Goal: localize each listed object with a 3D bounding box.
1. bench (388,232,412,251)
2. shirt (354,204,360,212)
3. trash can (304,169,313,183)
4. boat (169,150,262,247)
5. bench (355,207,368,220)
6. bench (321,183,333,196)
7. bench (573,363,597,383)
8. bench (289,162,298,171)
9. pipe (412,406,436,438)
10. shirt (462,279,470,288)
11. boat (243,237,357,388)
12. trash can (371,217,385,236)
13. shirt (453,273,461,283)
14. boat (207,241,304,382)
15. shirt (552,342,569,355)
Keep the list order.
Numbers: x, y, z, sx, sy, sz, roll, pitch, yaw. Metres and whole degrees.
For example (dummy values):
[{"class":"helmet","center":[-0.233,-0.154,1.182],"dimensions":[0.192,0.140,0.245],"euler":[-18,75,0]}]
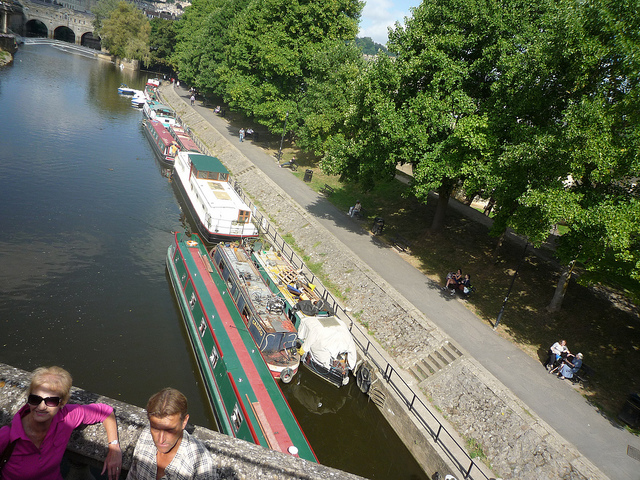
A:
[{"class":"bench","center":[6.861,0.126,39.192],"dimensions":[1.942,1.096,1.390],"euler":[29,26,26]},{"class":"shirt","center":[3.665,-3.183,43.930],"dimensions":[0.523,0.727,0.406],"euler":[-3,-17,29]},{"class":"trash can","center":[-1.359,-7.489,53.218],"dimensions":[0.776,1.494,0.456],"euler":[2,-1,1]},{"class":"boat","center":[-11.122,-4.858,46.092],"dimensions":[4.862,4.570,16.846],"euler":[5,27,-34]},{"class":"bench","center":[3.982,-2.582,43.831],"dimensions":[1.174,0.856,1.796],"euler":[-24,19,-16]},{"class":"bench","center":[0.876,-5.585,49.780],"dimensions":[0.787,0.822,1.837],"euler":[9,-2,-11]},{"class":"bench","center":[15.545,7.852,26.787],"dimensions":[1.111,1.069,0.308],"euler":[41,7,4]},{"class":"bench","center":[-3.329,-9.428,57.745],"dimensions":[0.892,0.958,0.282],"euler":[-2,5,-44]},{"class":"pipe","center":[5.563,9.650,24.298],"dimensions":[0.228,0.114,1.973],"euler":[1,28,-33]},{"class":"shirt","center":[10.585,3.077,32.974],"dimensions":[0.350,0.639,0.639],"euler":[5,29,4]},{"class":"boat","center":[-1.668,4.136,31.709],"dimensions":[3.284,3.455,13.949],"euler":[9,24,-36]},{"class":"trash can","center":[5.428,-1.239,41.242],"dimensions":[0.579,1.716,0.920],"euler":[3,7,-40]},{"class":"shirt","center":[10.055,2.766,33.343],"dimensions":[0.169,0.630,0.437],"euler":[11,-2,-30]},{"class":"boat","center":[-4.647,3.882,30.039],"dimensions":[2.184,2.621,11.284],"euler":[-2,43,-41]},{"class":"shirt","center":[14.216,6.466,27.179],"dimensions":[0.665,0.475,0.564],"euler":[-8,32,-45]}]
